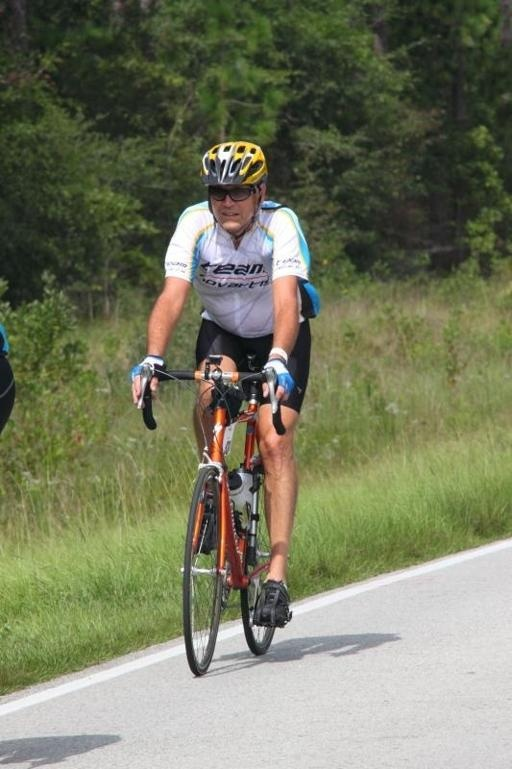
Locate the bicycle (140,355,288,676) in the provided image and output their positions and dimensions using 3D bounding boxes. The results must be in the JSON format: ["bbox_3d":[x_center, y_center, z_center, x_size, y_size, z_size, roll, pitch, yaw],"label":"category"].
[{"bbox_3d":[-0.152,0.559,6.161,0.596,1.386,1.011,-1,4,1],"label":"bicycle"}]

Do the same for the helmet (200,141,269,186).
[{"bbox_3d":[-0.090,-0.943,6.096,0.263,0.185,0.185,-1,4,-3],"label":"helmet"}]

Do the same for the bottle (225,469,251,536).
[{"bbox_3d":[-0.079,0.506,6.313,0.075,0.246,0.160,0,13,-9],"label":"bottle"}]

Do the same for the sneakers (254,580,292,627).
[{"bbox_3d":[0.077,0.929,6.186,0.117,0.094,0.209,3,26,9],"label":"sneakers"}]

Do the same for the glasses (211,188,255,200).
[{"bbox_3d":[-0.097,-0.818,6.150,0.181,0.057,0.065,-1,4,-4],"label":"glasses"}]
